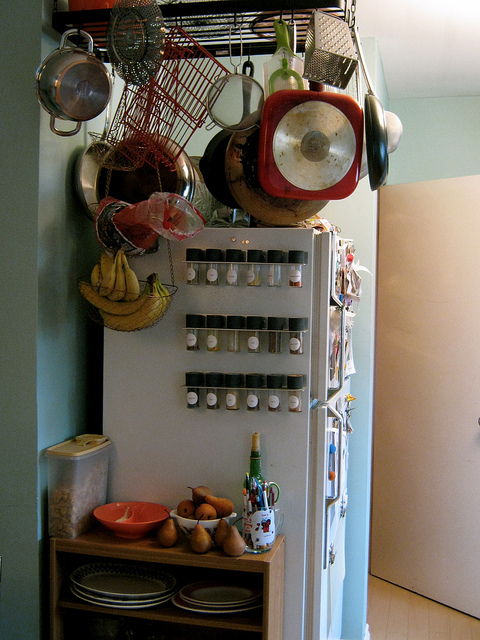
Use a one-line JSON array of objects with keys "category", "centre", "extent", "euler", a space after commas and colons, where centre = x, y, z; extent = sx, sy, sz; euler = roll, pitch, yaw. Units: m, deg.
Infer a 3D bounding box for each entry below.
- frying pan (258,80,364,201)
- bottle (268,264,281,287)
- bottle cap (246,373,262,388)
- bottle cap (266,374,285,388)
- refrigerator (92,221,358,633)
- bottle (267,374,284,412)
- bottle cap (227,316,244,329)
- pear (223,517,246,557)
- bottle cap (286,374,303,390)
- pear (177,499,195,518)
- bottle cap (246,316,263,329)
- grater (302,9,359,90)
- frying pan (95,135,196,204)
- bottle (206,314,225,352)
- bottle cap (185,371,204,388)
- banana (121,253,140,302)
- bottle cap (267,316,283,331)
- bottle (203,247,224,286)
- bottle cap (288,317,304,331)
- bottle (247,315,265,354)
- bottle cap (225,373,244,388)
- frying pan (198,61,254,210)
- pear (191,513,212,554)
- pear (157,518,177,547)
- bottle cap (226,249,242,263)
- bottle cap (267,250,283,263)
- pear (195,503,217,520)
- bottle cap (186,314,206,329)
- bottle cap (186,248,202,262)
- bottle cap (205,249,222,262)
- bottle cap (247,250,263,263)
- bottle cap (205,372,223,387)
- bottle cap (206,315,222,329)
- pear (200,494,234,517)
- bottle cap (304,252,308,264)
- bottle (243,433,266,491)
[{"category": "frying pan", "centre": [0.183, -0.452, 1.443], "extent": [0.276, 0.268, 0.081], "euler": [1, 11, 4]}, {"category": "bottle", "centre": [0.096, -0.127, 1.622], "extent": [0.045, 0.092, 0.049], "euler": [0, -1, -5]}, {"category": "bottle cap", "centre": [0.037, 0.172, 1.554], "extent": [0.039, 0.034, 0.027], "euler": [-3, 5, -19]}, {"category": "bottle cap", "centre": [0.096, 0.172, 1.547], "extent": [0.034, 0.031, 0.036], "euler": [0, 4, 21]}, {"category": "refrigerator", "centre": [0.094, 0.235, 2.693], "extent": [1.021, 2.506, 1.127], "euler": [1, 0, 14]}, {"category": "bottle", "centre": [0.100, 0.212, 1.562], "extent": [0.049, 0.114, 0.038], "euler": [-1, 11, -3]}, {"category": "bottle cap", "centre": [-0.015, 0.008, 1.568], "extent": [0.032, 0.040, 0.028], "euler": [1, 1, 3]}, {"category": "pear", "centre": [-0.017, 0.574, 1.423], "extent": [0.059, 0.069, 0.060], "euler": [0, 12, 1]}, {"category": "bottle cap", "centre": [0.151, 0.172, 1.536], "extent": [0.034, 0.036, 0.036], "euler": [-2, -1, 28]}, {"category": "pear", "centre": [-0.152, 0.529, 1.544], "extent": [0.049, 0.029, 0.057], "euler": [-2, 13, -11]}, {"category": "bottle cap", "centre": [0.041, 0.009, 1.569], "extent": [0.045, 0.036, 0.019], "euler": [-1, 11, -6]}, {"category": "grater", "centre": [0.195, -0.588, 1.201], "extent": [0.115, 0.143, 0.132], "euler": [2, 12, 7]}, {"category": "frying pan", "centre": [-0.284, -0.447, 1.658], "extent": [0.305, 0.190, 0.145], "euler": [-4, 12, -17]}, {"category": "bottle", "centre": [-0.077, 0.033, 1.589], "extent": [0.068, 0.154, 0.086], "euler": [0, 1, 1]}, {"category": "bottle cap", "centre": [-0.135, 0.176, 1.602], "extent": [0.042, 0.037, 0.034], "euler": [0, 0, -13]}, {"category": "banana", "centre": [-0.295, -0.113, 1.506], "extent": [0.035, 0.143, 0.050], "euler": [-4, -2, 6]}, {"category": "bottle cap", "centre": [0.097, 0.012, 1.555], "extent": [0.035, 0.043, 0.035], "euler": [3, 7, 13]}, {"category": "bottle", "centre": [-0.083, -0.152, 1.613], "extent": [0.066, 0.109, 0.056], "euler": [2, 11, 9]}, {"category": "bottle cap", "centre": [0.155, 0.016, 1.543], "extent": [0.032, 0.040, 0.032], "euler": [-1, -4, 10]}, {"category": "bottle", "centre": [0.040, 0.034, 1.590], "extent": [0.044, 0.113, 0.046], "euler": [1, 21, 0]}, {"category": "bottle cap", "centre": [-0.018, 0.175, 1.581], "extent": [0.043, 0.038, 0.034], "euler": [0, -1, -22]}, {"category": "frying pan", "centre": [-0.008, -0.590, 1.730], "extent": [0.257, 0.555, 0.071], "euler": [-4, -15, 29]}, {"category": "pear", "centre": [-0.103, 0.548, 1.432], "extent": [0.047, 0.112, 0.049], "euler": [11, 27, 15]}, {"category": "pear", "centre": [-0.198, 0.584, 1.498], "extent": [0.051, 0.065, 0.052], "euler": [-6, 13, -29]}, {"category": "bottle cap", "centre": [-0.020, -0.182, 1.570], "extent": [0.032, 0.029, 0.036], "euler": [-1, 7, -4]}, {"category": "bottle cap", "centre": [0.096, -0.177, 1.548], "extent": [0.031, 0.037, 0.033], "euler": [-1, 4, 28]}, {"category": "pear", "centre": [-0.094, 0.520, 1.492], "extent": [0.040, 0.042, 0.042], "euler": [-27, -50, 33]}, {"category": "bottle cap", "centre": [-0.130, 0.006, 1.588], "extent": [0.057, 0.039, 0.046], "euler": [3, -6, -7]}, {"category": "bottle cap", "centre": [-0.136, -0.186, 1.592], "extent": [0.034, 0.031, 0.037], "euler": [2, 4, 23]}, {"category": "bottle cap", "centre": [-0.079, -0.184, 1.582], "extent": [0.031, 0.029, 0.035], "euler": [4, 10, 16]}, {"category": "bottle cap", "centre": [0.041, -0.179, 1.555], "extent": [0.030, 0.038, 0.036], "euler": [-1, 7, -1]}, {"category": "bottle cap", "centre": [-0.077, 0.175, 1.598], "extent": [0.031, 0.029, 0.035], "euler": [0, 2, 17]}, {"category": "bottle cap", "centre": [-0.077, 0.006, 1.576], "extent": [0.032, 0.042, 0.038], "euler": [-2, 6, -9]}, {"category": "pear", "centre": [-0.057, 0.517, 1.533], "extent": [0.065, 0.035, 0.044], "euler": [16, 19, -14]}, {"category": "bottle cap", "centre": [0.185, -0.174, 1.570], "extent": [0.006, 0.032, 0.022], "euler": [6, 13, 27]}, {"category": "bottle", "centre": [0.040, 0.396, 1.538], "extent": [0.053, 0.143, 0.130], "euler": [1, 12, 2]}]
